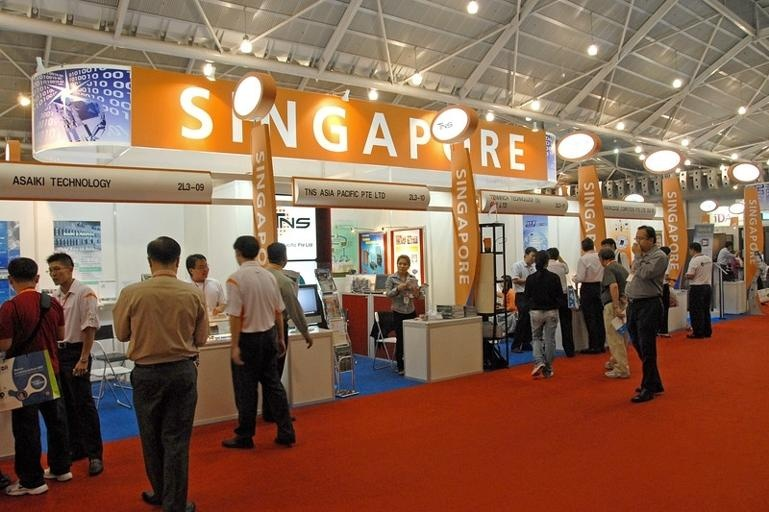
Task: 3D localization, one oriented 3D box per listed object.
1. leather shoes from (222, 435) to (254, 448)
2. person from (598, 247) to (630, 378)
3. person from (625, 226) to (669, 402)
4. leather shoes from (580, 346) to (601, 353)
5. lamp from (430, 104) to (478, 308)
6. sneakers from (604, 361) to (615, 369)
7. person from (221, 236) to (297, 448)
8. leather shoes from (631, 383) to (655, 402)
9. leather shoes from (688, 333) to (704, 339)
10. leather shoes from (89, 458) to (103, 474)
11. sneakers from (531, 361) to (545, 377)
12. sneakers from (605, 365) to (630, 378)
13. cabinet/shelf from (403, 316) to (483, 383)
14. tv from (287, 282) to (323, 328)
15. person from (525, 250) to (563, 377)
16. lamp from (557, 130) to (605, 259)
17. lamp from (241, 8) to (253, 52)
[{"bbox_3d":[-1.621,2.054,6.341,0.352,0.175,0.141,5,-8,7],"label":"leather shoes"},{"bbox_3d":[3.330,0.812,8.215,0.383,1.993,0.833,-2,0,23],"label":"person"},{"bbox_3d":[3.352,0.717,7.249,0.481,2.383,0.414,-2,0,24],"label":"person"},{"bbox_3d":[3.569,1.637,9.823,0.342,0.159,0.119,1,-1,40],"label":"leather shoes"},{"bbox_3d":[1.200,-0.817,9.039,0.613,3.124,0.745,-2,0,-12],"label":"lamp"},{"bbox_3d":[3.378,1.619,8.501,0.140,0.106,0.046,-10,-38,44],"label":"sneakers"},{"bbox_3d":[-1.410,0.939,6.278,0.711,2.077,0.308,-2,0,-22],"label":"person"},{"bbox_3d":[3.322,1.736,7.290,0.264,0.220,0.477,-2,1,29],"label":"leather shoes"},{"bbox_3d":[5.941,1.523,10.851,0.254,0.118,0.098,3,-3,25],"label":"leather shoes"},{"bbox_3d":[-3.036,2.177,5.935,0.159,0.140,0.171,-2,1,-14],"label":"leather shoes"},{"bbox_3d":[2.255,1.677,8.403,0.116,0.117,0.263,11,-44,-7],"label":"sneakers"},{"bbox_3d":[3.364,1.683,8.265,0.358,0.177,0.144,3,1,18],"label":"sneakers"},{"bbox_3d":[0.856,1.337,8.774,1.439,1.117,0.779,-1,-2,-42],"label":"cabinet/shelf"},{"bbox_3d":[-1.120,0.696,7.897,0.144,0.501,0.535,-13,-5,43],"label":"tv"},{"bbox_3d":[2.359,0.839,8.425,0.503,1.870,0.460,-2,0,14],"label":"person"},{"bbox_3d":[3.969,-1.276,11.312,0.718,2.379,2.591,-2,0,22],"label":"lamp"},{"bbox_3d":[-2.782,-4.385,11.238,0.224,0.810,1.001,-2,0,-15],"label":"lamp"}]
